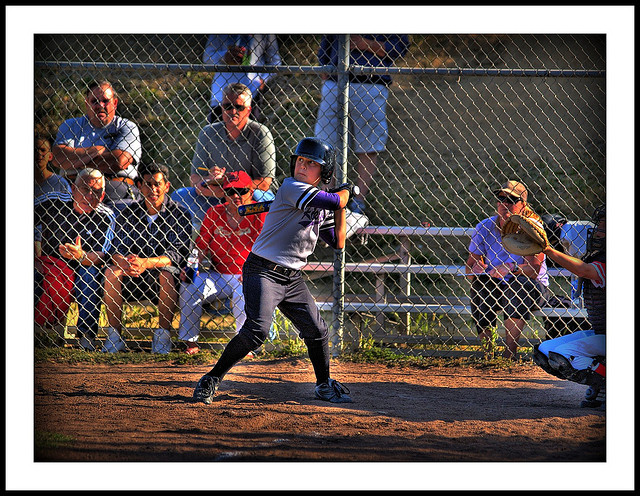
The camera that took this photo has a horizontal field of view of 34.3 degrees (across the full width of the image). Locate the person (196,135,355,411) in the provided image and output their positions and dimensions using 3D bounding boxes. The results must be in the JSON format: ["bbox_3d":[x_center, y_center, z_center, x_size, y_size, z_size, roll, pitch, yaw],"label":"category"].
[{"bbox_3d":[-0.317,0.195,8.779,1.237,2.258,0.440,-1,1,0],"label":"person"}]

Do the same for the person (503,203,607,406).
[{"bbox_3d":[1.958,0.490,8.775,0.918,1.697,0.638,-1,1,-6],"label":"person"}]

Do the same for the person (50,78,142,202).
[{"bbox_3d":[-2.284,-0.827,10.656,0.821,1.721,0.820,3,9,4],"label":"person"}]

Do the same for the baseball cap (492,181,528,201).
[{"bbox_3d":[1.848,-0.538,9.871,0.169,0.125,0.245,15,-15,45],"label":"baseball cap"}]

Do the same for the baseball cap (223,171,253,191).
[{"bbox_3d":[-0.788,-0.647,9.941,0.282,0.193,0.223,-1,1,-5],"label":"baseball cap"}]

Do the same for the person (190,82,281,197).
[{"bbox_3d":[-0.855,-1.116,10.288,1.219,1.466,0.989,1,10,-1],"label":"person"}]

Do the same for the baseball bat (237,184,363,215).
[{"bbox_3d":[-0.225,-0.431,9.005,0.940,0.134,0.109,-13,33,-10],"label":"baseball bat"}]

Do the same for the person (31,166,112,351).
[{"bbox_3d":[-2.363,0.100,10.014,0.727,1.737,0.383,0,1,21],"label":"person"}]
